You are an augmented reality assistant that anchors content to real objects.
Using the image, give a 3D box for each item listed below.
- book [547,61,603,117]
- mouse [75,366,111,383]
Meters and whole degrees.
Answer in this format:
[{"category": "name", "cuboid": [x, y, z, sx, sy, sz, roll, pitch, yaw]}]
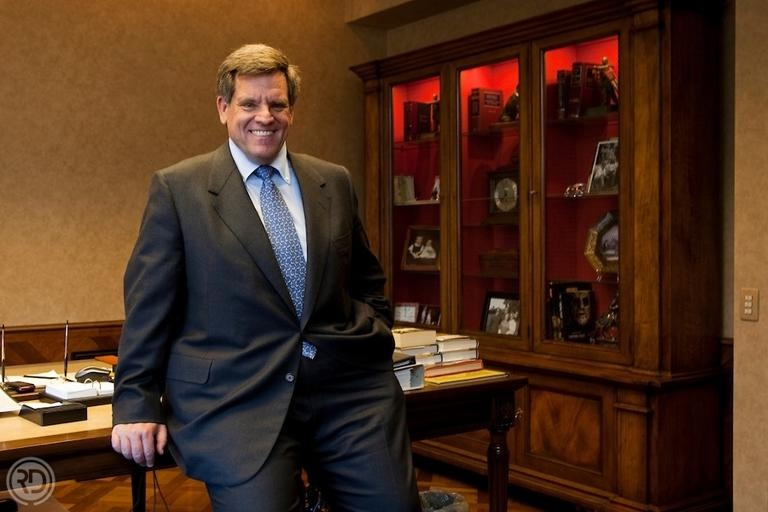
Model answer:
[{"category": "book", "cuboid": [1.258, -1.083, 3.998, 0.319, 0.406, 0.312, 0, 0, -8]}, {"category": "mouse", "cuboid": [-1.269, 0.516, 2.636, 0.126, 0.041, 0.079, 0, 1, -40]}]
